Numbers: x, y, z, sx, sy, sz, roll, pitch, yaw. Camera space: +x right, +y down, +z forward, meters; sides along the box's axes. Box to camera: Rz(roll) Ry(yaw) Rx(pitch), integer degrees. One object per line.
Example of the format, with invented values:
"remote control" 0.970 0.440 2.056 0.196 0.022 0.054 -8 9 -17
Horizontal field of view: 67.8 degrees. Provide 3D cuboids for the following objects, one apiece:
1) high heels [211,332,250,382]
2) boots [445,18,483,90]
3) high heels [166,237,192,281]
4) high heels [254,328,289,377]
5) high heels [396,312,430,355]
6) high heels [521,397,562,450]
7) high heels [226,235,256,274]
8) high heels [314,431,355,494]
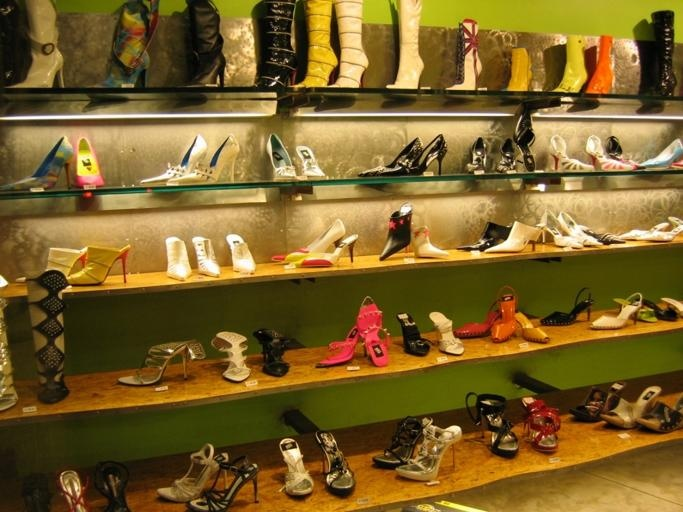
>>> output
"high heels" -0.668 0.597 3.077 0.196 0.312 0.091 -16 -10 -19
"boots" 0.847 -1.386 3.483 0.203 0.471 0.319 0 17 12
"high heels" -1.002 0.006 3.078 0.136 0.207 0.377 -8 16 -16
"high heels" -0.440 0.582 3.156 0.195 0.205 0.424 -5 15 -8
"high heels" 0.445 0.509 3.373 0.127 0.131 0.352 -10 23 -13
"high heels" 1.280 1.072 3.323 0.161 0.105 0.368 -6 27 -6
"high heels" -0.639 -0.010 3.170 0.123 0.114 0.340 -11 54 -34
"high heels" -0.047 1.223 2.996 0.139 0.097 0.374 -4 37 -22
